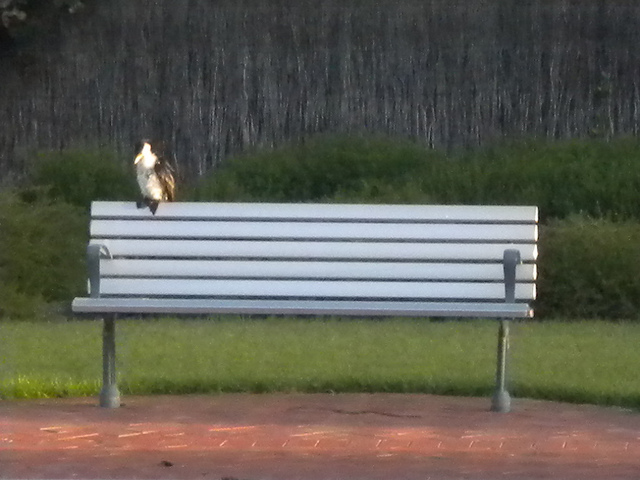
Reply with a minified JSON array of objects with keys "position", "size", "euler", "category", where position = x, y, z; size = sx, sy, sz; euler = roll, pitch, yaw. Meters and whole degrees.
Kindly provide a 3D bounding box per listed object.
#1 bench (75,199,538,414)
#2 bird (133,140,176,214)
[{"position":[-0.207,0.744,24.993],"size":[5.280,2.137,1.582],"euler":[0,11,12],"category":"bench"},{"position":[-1.887,-0.712,25.452],"size":[0.487,0.764,0.555],"euler":[6,7,43],"category":"bird"}]
